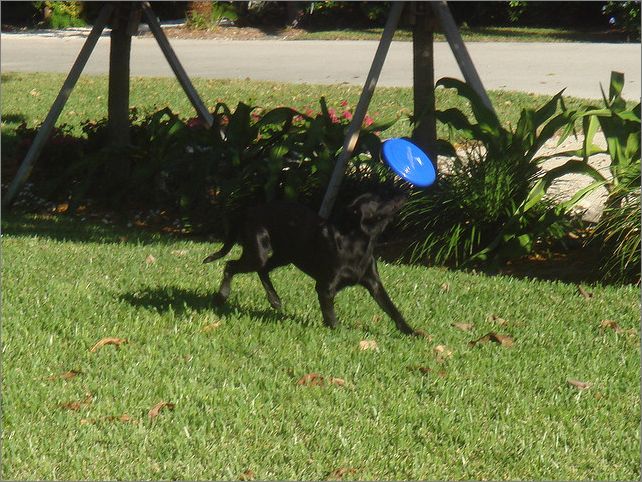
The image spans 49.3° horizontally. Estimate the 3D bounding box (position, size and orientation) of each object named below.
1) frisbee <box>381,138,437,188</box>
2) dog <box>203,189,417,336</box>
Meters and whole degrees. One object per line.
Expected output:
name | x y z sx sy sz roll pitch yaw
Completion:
frisbee | 0.585 -0.515 4.623 0.340 0.237 0.452 6 24 2
dog | -0.117 0.076 4.784 1.565 1.019 0.454 10 18 14
